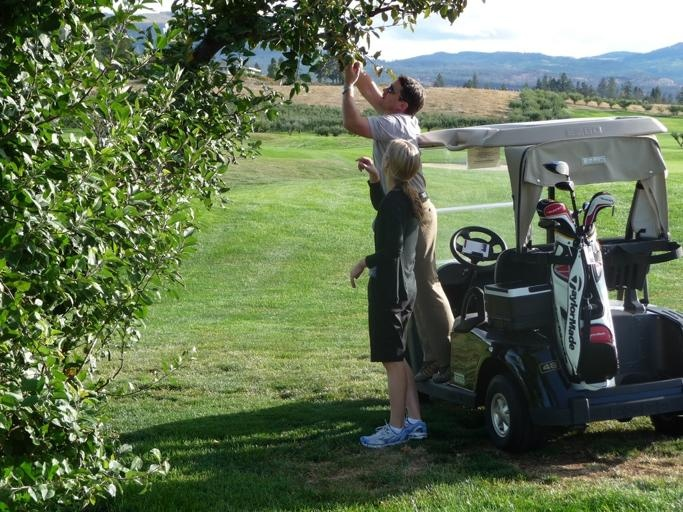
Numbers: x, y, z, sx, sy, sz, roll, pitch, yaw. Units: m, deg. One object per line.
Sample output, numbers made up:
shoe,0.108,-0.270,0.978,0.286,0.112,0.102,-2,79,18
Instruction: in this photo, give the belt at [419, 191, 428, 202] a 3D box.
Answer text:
belt,0.640,-0.453,6.380,0.060,0.090,0.085,1,6,1

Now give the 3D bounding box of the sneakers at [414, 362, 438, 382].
sneakers,0.717,0.986,6.919,0.251,0.112,0.092,-32,2,32

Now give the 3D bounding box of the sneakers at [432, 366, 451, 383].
sneakers,0.840,0.991,6.773,0.091,0.108,0.148,0,0,-44

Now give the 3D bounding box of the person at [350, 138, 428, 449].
person,0.353,0.310,6.071,0.560,2.294,0.347,-4,7,-12

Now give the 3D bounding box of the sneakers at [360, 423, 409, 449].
sneakers,0.332,1.376,6.288,0.361,0.190,0.156,-2,-2,-1

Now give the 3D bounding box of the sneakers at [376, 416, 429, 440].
sneakers,0.465,1.322,6.319,0.389,0.191,0.150,4,-3,-6

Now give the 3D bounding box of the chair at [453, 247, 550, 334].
chair,1.350,0.265,6.138,0.545,0.484,0.547,-8,5,-32
